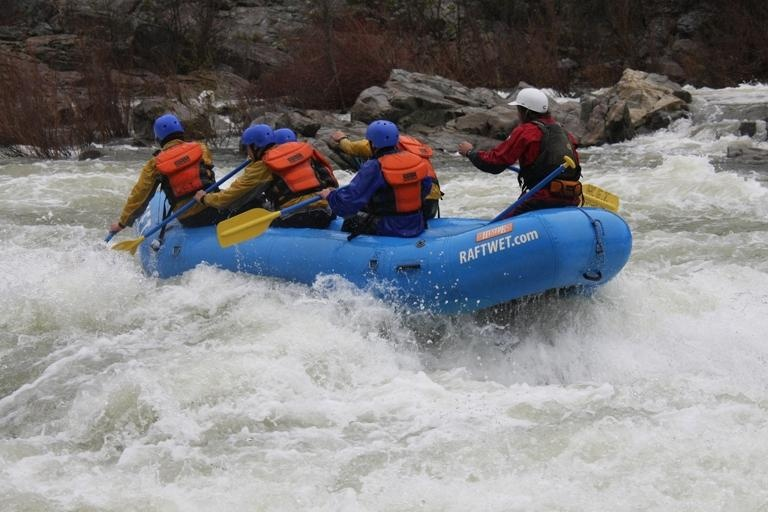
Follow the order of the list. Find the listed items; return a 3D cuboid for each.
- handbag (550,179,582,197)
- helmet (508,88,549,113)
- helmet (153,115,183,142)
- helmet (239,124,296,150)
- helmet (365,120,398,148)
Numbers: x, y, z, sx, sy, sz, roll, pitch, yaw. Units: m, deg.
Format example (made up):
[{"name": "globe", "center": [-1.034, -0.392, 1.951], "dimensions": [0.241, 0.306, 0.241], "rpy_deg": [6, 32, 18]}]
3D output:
[{"name": "handbag", "center": [2.306, -0.874, 10.973], "dimensions": [0.318, 0.131, 0.236], "rpy_deg": [5, 6, -10]}, {"name": "helmet", "center": [1.898, -2.056, 11.315], "dimensions": [0.467, 0.212, 0.348], "rpy_deg": [20, 19, 14]}, {"name": "helmet", "center": [-3.005, -1.834, 12.250], "dimensions": [0.332, 0.370, 0.427], "rpy_deg": [-24, 25, -34]}, {"name": "helmet", "center": [-1.602, -1.645, 11.844], "dimensions": [0.578, 0.209, 0.372], "rpy_deg": [-2, 5, -15]}, {"name": "helmet", "center": [-0.041, -1.627, 11.183], "dimensions": [0.324, 0.373, 0.400], "rpy_deg": [-10, 32, -28]}]
